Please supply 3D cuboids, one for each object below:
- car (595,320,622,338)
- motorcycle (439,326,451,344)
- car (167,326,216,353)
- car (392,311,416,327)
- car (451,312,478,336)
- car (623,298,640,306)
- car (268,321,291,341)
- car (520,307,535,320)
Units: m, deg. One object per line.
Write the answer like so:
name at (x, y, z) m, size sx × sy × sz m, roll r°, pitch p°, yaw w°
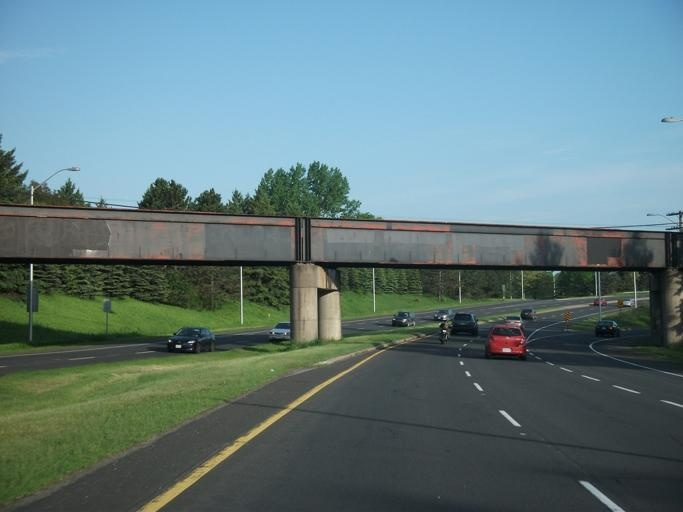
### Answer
car at (25.288, 6.887, 72.155) m, size 2.063 × 1.392 × 1.909 m, roll 0°, pitch -2°, yaw 15°
motorcycle at (6.884, 5.302, 50.907) m, size 0.963 × 1.181 × 2.066 m, roll -1°, pitch -13°, yaw 7°
car at (-8.977, 4.976, 44.942) m, size 2.095 × 1.435 × 2.718 m, roll 0°, pitch -2°, yaw 9°
car at (6.464, 6.676, 79.635) m, size 2.082 × 1.256 × 1.925 m, roll 1°, pitch -2°, yaw -13°
car at (10.397, 5.813, 64.530) m, size 2.142 × 1.876 × 3.350 m, roll 0°, pitch -2°, yaw 5°
car at (51.053, 8.114, 133.525) m, size 1.651 × 0.807 × 2.528 m, roll -7°, pitch -11°, yaw 36°
car at (-4.079, 5.267, 52.729) m, size 1.038 × 0.941 × 2.367 m, roll -1°, pitch -11°, yaw 5°
car at (25.786, 8.114, 104.388) m, size 1.592 × 1.304 × 2.898 m, roll 1°, pitch 3°, yaw 20°
